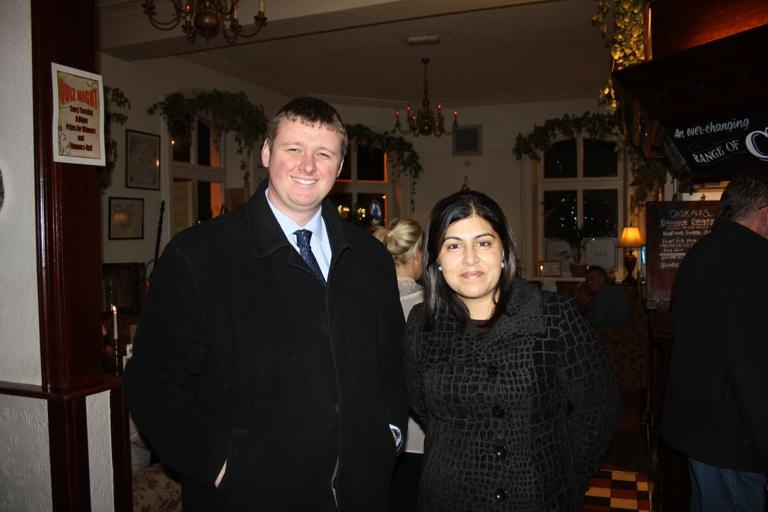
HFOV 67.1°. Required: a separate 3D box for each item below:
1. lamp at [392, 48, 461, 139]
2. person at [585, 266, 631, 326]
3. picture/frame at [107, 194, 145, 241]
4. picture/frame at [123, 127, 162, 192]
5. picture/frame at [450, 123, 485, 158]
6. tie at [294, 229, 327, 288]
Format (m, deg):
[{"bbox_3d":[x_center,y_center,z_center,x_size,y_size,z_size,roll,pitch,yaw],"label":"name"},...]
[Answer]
[{"bbox_3d":[0.657,-2.353,8.843,0.941,1.347,1.029,0,-5,2],"label":"lamp"},{"bbox_3d":[2.592,0.528,6.666,0.543,0.868,0.858,-2,-2,25],"label":"person"},{"bbox_3d":[-3.064,-0.476,6.932,0.034,0.551,0.488,3,6,32],"label":"picture/frame"},{"bbox_3d":[-2.934,-1.211,7.095,0.059,0.995,0.764,1,2,27],"label":"picture/frame"},{"bbox_3d":[1.551,-2.140,10.461,0.512,0.575,0.061,7,25,17],"label":"picture/frame"},{"bbox_3d":[-0.327,-0.024,2.655,0.078,0.338,0.028,-2,-34,-34],"label":"tie"}]
